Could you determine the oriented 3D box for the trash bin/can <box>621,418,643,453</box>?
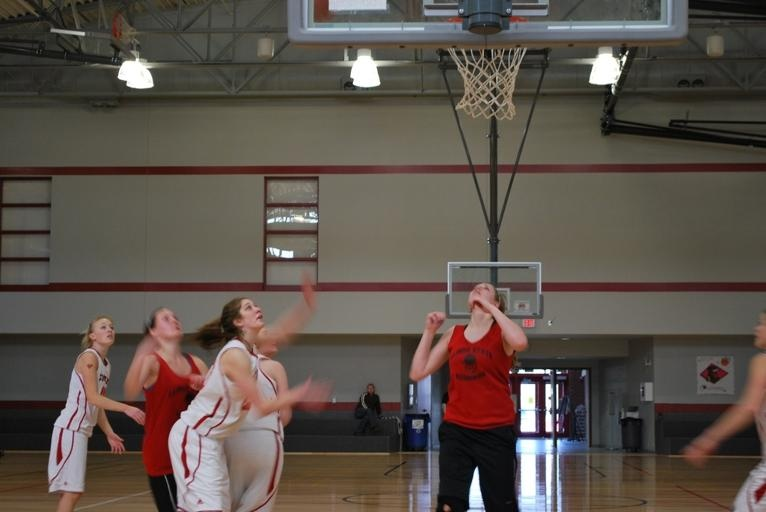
[{"bbox_3d":[6.433,4.649,23.067,0.609,0.851,0.610,-11,-17,40],"label":"trash bin/can"}]

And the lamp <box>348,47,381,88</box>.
[{"bbox_3d":[-0.373,-4.055,18.793,0.542,0.882,1.002,1,-6,-1],"label":"lamp"}]

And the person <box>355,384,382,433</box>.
[{"bbox_3d":[-0.366,3.751,21.976,0.621,1.205,0.701,3,-6,-20],"label":"person"}]

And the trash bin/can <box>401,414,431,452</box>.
[{"bbox_3d":[0.840,4.435,22.557,0.833,1.060,0.849,0,-16,-1],"label":"trash bin/can"}]
